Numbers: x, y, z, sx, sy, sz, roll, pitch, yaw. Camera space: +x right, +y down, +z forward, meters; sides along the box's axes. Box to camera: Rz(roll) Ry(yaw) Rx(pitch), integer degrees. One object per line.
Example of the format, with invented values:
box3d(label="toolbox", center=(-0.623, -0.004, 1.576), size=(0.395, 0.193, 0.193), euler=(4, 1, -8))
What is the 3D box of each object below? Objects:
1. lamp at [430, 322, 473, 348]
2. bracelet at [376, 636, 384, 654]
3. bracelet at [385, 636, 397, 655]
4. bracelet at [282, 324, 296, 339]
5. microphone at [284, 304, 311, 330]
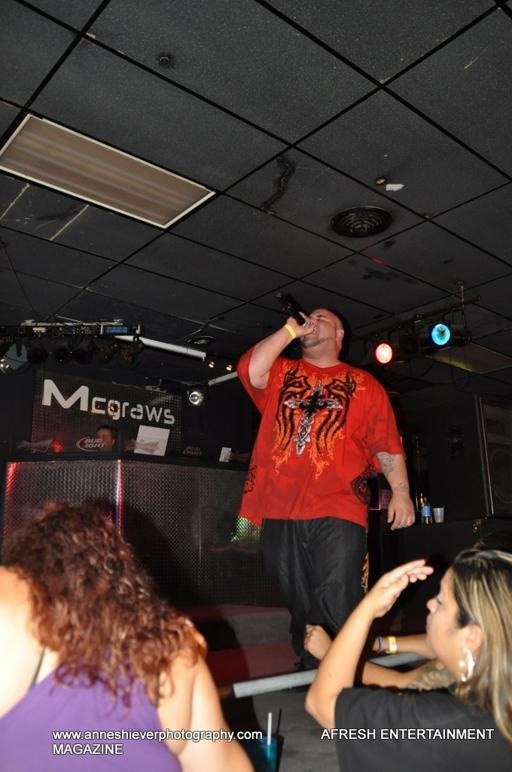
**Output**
box3d(label="lamp", center=(2.012, -0.498, 5.373), size=(0.333, 0.239, 0.163), euler=(5, 8, 8))
box3d(label="bracelet", center=(0.346, 0.719, 1.441), size=(0.018, 0.037, 0.029), euler=(13, -19, -42))
box3d(label="bracelet", center=(0.369, 0.708, 1.419), size=(0.029, 0.044, 0.044), euler=(2, -4, 7))
box3d(label="bracelet", center=(0.143, -0.223, 2.120), size=(0.024, 0.060, 0.045), euler=(-39, 30, -20))
box3d(label="microphone", center=(0.164, -0.282, 2.177), size=(0.047, 0.107, 0.067), euler=(-49, -11, 36))
